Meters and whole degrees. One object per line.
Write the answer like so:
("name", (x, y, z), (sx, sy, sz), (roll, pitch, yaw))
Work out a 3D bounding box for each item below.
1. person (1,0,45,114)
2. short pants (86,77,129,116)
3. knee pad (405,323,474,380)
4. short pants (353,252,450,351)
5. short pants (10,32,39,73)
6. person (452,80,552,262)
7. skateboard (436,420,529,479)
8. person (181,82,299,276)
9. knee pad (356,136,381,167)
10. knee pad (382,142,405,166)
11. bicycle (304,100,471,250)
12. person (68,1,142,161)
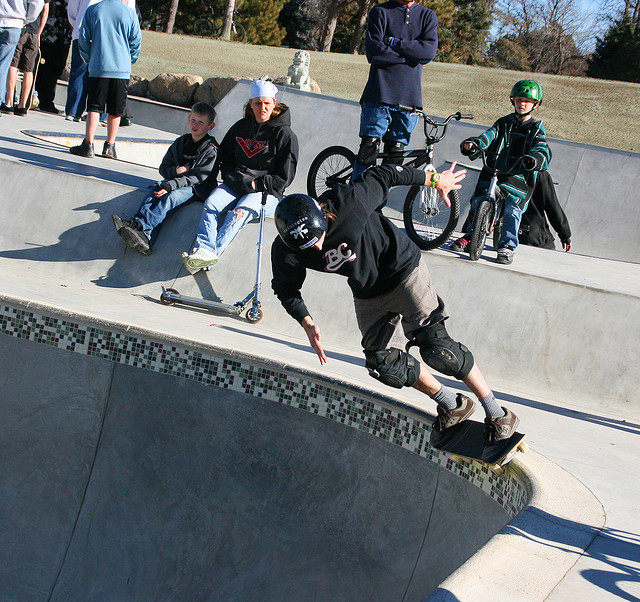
("person", (-3.729, -3.171, 7.516), (0.468, 1.205, 0.739), (1, 17, -26))
("short pants", (-2.221, -2.148, 6.309), (0.393, 0.392, 0.232), (2, 17, -26))
("knee pad", (0.623, 0.257, 3.144), (0.308, 0.232, 0.139), (46, 29, 15))
("short pants", (0.397, -0.111, 3.361), (0.538, 0.357, 0.568), (-16, 19, 37))
("short pants", (-3.825, -3.222, 7.780), (0.309, 0.549, 0.208), (24, 26, 0))
("person", (1.784, -1.177, 5.657), (0.649, 1.690, 1.643), (18, 21, 28))
("skateboard", (0.837, 0.747, 3.143), (0.229, 0.107, 0.567), (-36, 10, -23))
("person", (-0.699, -1.090, 5.002), (0.667, 1.570, 1.464), (12, 16, 14))
("knee pad", (0.405, -1.315, 5.406), (0.169, 0.262, 0.255), (15, -9, 0))
("knee pad", (0.667, -1.354, 5.520), (0.179, 0.200, 0.554), (11, 16, 4))
("bicycle", (0.630, -1.195, 5.596), (1.744, 1.188, 0.860), (23, 15, 35))
("person", (-2.401, -2.432, 6.728), (0.683, 1.638, 1.282), (2, 17, -23))
